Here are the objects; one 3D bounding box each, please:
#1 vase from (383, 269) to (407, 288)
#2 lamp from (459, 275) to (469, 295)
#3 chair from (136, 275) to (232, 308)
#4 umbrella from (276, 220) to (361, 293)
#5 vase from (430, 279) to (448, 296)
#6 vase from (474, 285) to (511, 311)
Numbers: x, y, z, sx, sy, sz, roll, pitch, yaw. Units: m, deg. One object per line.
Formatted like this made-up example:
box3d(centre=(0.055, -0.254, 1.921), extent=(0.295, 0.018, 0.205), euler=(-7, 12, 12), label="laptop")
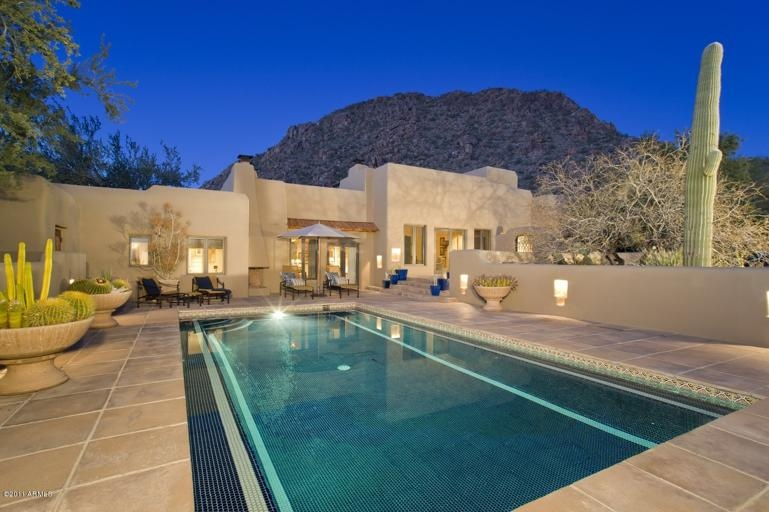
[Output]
box3d(centre=(0.497, 1.054, 22.249), extent=(1.084, 0.784, 0.760), euler=(1, -3, 15), label="vase")
box3d(centre=(2.988, 1.041, 16.986), extent=(0.106, 0.740, 0.472), euler=(-3, 2, -24), label="lamp")
box3d(centre=(-7.336, 1.220, 16.361), extent=(2.862, 1.061, 1.876), euler=(-2, 1, -33), label="chair")
box3d(centre=(-3.111, -0.121, 21.032), extent=(3.400, 3.217, 3.585), euler=(-1, 0, 8), label="umbrella")
box3d(centre=(2.411, 1.337, 19.674), extent=(0.706, 0.944, 0.777), euler=(-2, -1, -2), label="vase")
box3d(centre=(3.618, 1.337, 14.924), extent=(0.861, 0.623, 0.887), euler=(2, -9, -16), label="vase")
